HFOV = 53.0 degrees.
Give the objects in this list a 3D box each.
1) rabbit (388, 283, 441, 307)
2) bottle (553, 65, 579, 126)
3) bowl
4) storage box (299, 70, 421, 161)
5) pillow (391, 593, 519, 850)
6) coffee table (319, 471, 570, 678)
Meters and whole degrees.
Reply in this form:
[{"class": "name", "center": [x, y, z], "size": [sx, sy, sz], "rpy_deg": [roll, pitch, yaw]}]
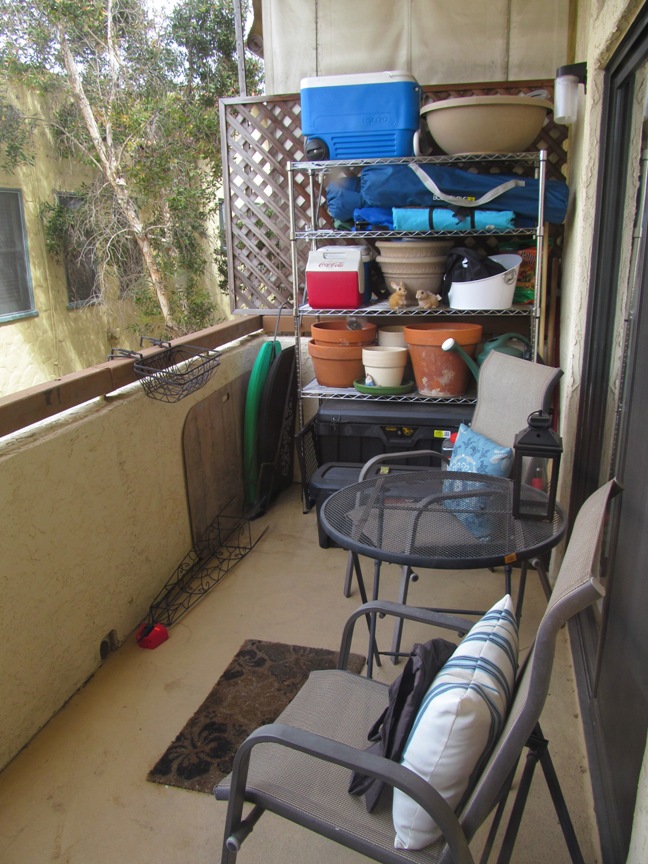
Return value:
[{"class": "rabbit", "center": [0.422, -0.632, 3.007], "size": [0.210, 0.102, 0.115], "rpy_deg": [0, 38, 0]}, {"class": "bottle", "center": [0.930, -1.289, 2.497], "size": [0.090, 0.179, 0.203], "rpy_deg": [3, 15, 20]}, {"class": "bowl", "center": [0.680, -1.300, 2.757], "size": [0.535, 0.205, 0.198], "rpy_deg": [0, 14, 8]}, {"class": "storage box", "center": [0.155, -1.394, 2.854], "size": [0.634, 0.434, 0.370], "rpy_deg": [3, 27, 10]}, {"class": "pillow", "center": [0.219, 0.421, 1.012], "size": [0.133, 0.201, 0.347], "rpy_deg": [5, 16, 27]}, {"class": "coffee table", "center": [0.282, 0.394, 1.857], "size": [0.635, 0.440, 0.650], "rpy_deg": [-3, 18, -1]}]
